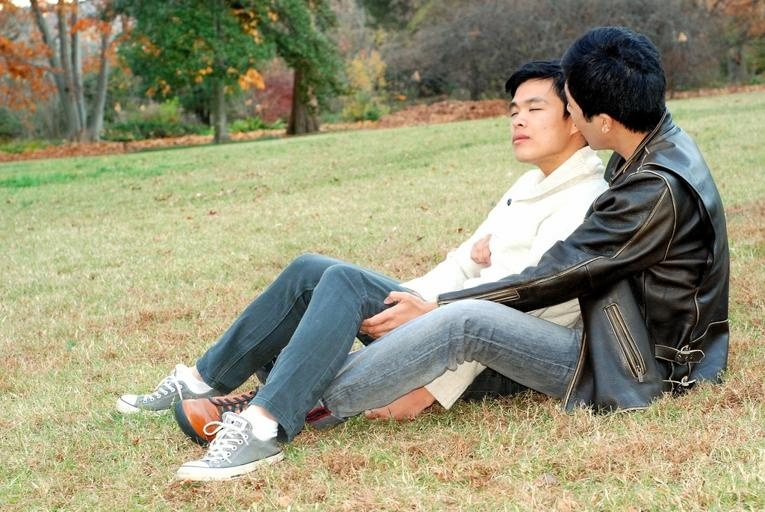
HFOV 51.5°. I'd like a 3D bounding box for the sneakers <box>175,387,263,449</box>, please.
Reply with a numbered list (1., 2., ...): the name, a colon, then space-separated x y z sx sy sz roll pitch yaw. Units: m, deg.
1. sneakers: -1.062 0.982 4.968 0.265 0.231 0.645 -46 -20 14
